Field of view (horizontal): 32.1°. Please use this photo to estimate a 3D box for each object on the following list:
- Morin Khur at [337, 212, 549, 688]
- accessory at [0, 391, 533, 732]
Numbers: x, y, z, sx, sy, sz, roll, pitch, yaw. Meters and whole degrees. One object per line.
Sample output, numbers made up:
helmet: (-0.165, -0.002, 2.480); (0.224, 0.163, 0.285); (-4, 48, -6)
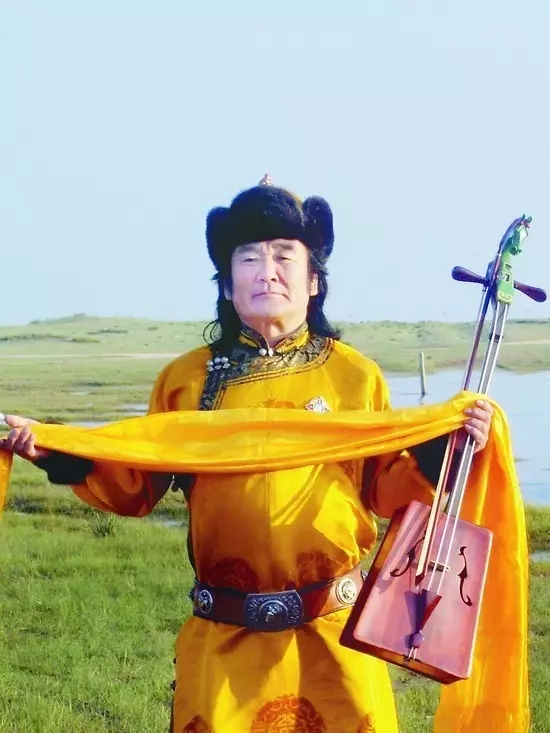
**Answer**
Morin Khur: (0.505, 0.236, 2.959); (0.371, 1.463, 0.527); (5, 4, 19)
accessory: (-0.055, 0.740, 3.359); (2.167, 1.206, 0.192); (0, -13, 1)
